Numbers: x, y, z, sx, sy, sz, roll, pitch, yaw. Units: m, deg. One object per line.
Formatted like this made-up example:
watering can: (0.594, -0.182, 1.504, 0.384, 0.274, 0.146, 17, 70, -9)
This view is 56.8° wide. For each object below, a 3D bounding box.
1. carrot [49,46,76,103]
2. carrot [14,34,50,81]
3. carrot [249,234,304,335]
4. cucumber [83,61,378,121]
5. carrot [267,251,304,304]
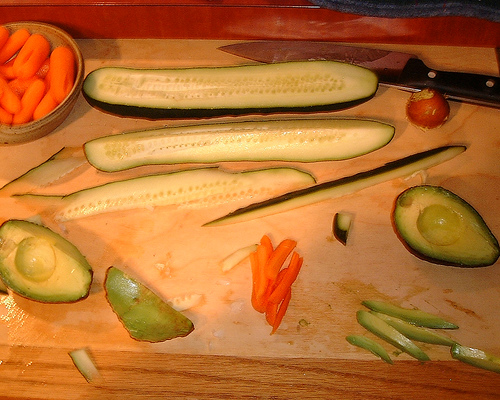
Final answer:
carrot: (-0.530, -0.366, 1.359, 0.104, 0.072, 0.142, 3, 89, 14)
carrot: (-0.626, -0.408, 1.323, 0.116, 0.118, 0.152, -13, 49, -26)
carrot: (0.070, 0.226, 1.260, 0.211, 0.076, 0.221, -5, 99, 3)
cucumber: (-0.029, -0.331, 1.280, 1.148, 0.100, 0.156, -1, 84, 3)
carrot: (0.105, 0.222, 1.321, 0.066, 0.034, 0.175, 39, 68, -5)
